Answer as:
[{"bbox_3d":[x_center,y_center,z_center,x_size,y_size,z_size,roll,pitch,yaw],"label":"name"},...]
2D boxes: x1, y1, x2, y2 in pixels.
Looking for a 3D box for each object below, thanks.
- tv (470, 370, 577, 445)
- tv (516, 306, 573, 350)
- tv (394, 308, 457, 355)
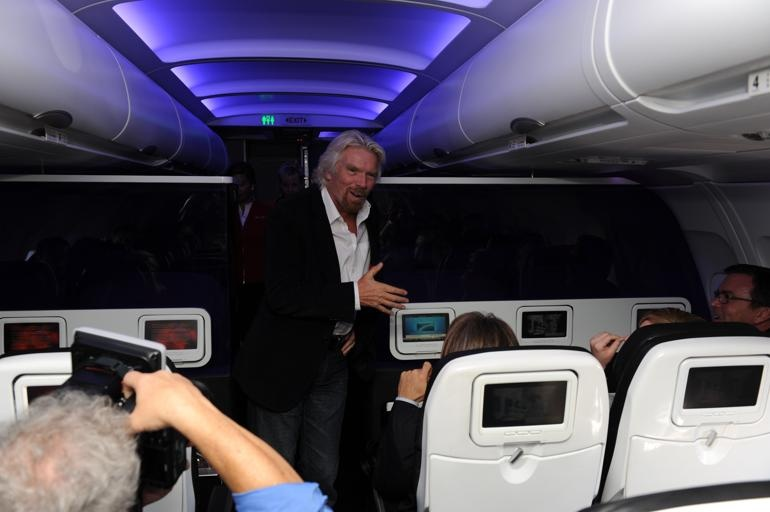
[{"bbox_3d":[0.556,0.608,2.086,0.519,0.332,0.057,3,2,-16],"label":"tv"},{"bbox_3d":[1.368,0.574,4.090,0.334,0.353,0.564,14,-16,-39],"label":"tv"},{"bbox_3d":[0.341,0.549,3.895,0.632,0.377,0.128,-4,-9,40],"label":"tv"}]
